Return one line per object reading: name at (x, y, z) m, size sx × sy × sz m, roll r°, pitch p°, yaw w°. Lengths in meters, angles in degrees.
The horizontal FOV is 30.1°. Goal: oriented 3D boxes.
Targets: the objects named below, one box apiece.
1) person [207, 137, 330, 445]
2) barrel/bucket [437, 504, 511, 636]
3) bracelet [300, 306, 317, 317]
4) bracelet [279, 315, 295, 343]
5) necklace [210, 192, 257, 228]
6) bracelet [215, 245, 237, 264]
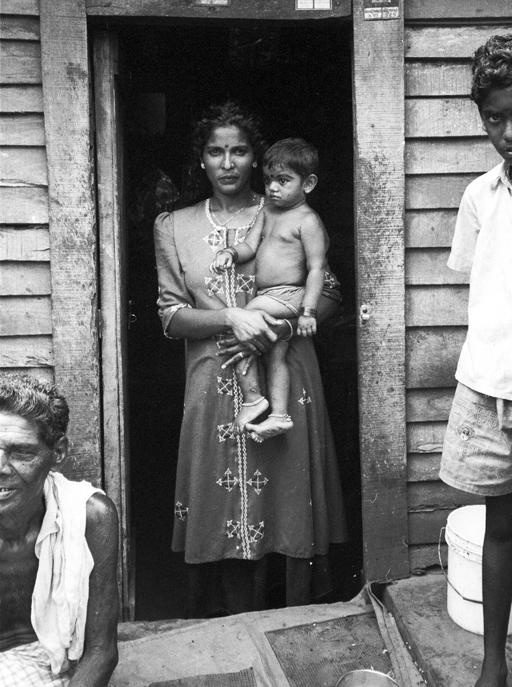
person at (0.074, -0.210, 3.662) m, size 0.370 × 1.160 × 0.434 m, roll 0°, pitch 5°, yaw 25°
barrel/bucket at (0.845, 0.782, 3.344) m, size 0.393 × 0.345 × 0.326 m, roll -1°, pitch 15°, yaw 17°
bracelet at (0.193, -0.118, 3.542) m, size 0.039 × 0.027 × 0.040 m, roll 7°, pitch -6°, yaw 31°
bracelet at (0.123, -0.056, 3.615) m, size 0.023 × 0.082 × 0.063 m, roll 14°, pitch 11°, yaw 15°
necklace at (-0.082, -0.530, 3.798) m, size 0.174 × 0.140 × 0.065 m, roll -19°, pitch -9°, yaw 4°
bracelet at (-0.111, -0.331, 3.616) m, size 0.037 × 0.058 × 0.078 m, roll 27°, pitch 47°, yaw 16°
